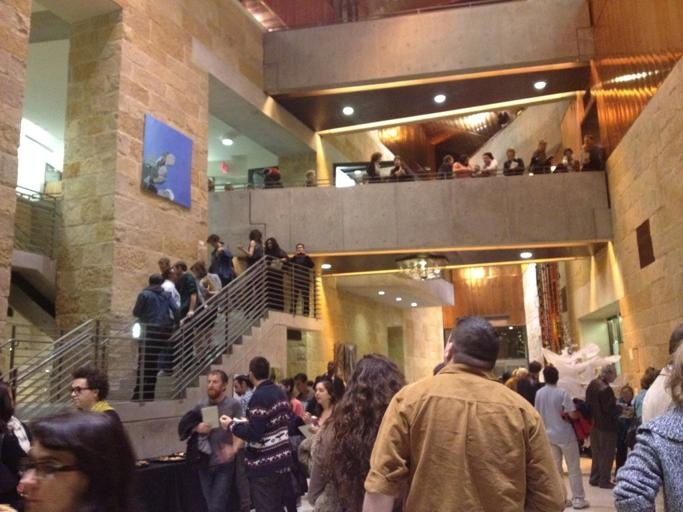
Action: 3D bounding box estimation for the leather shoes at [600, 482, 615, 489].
[{"bbox_3d":[3.860,3.329,8.291,0.200,0.089,0.093,-2,-1,0],"label":"leather shoes"}]

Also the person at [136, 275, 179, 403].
[{"bbox_3d":[-2.755,1.149,8.251,0.622,1.819,0.946,-5,-12,12],"label":"person"}]

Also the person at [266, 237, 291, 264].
[{"bbox_3d":[-1.415,-0.122,12.565,0.533,0.622,0.945,-1,-12,-8],"label":"person"}]

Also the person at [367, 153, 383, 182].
[{"bbox_3d":[0.806,-2.171,14.190,0.382,0.726,0.386,-4,-12,6],"label":"person"}]

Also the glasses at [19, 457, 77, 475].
[{"bbox_3d":[-0.958,0.686,1.867,0.189,0.055,0.034,-6,-13,15],"label":"glasses"}]

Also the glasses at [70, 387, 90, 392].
[{"bbox_3d":[-2.123,1.091,4.657,0.136,0.046,0.043,-5,-12,8],"label":"glasses"}]

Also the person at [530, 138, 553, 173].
[{"bbox_3d":[4.963,-2.334,14.042,0.515,1.030,0.563,-18,16,-39],"label":"person"}]

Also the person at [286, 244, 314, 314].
[{"bbox_3d":[-0.902,0.471,12.977,0.548,1.758,1.299,-2,-12,-3],"label":"person"}]

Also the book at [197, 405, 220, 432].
[{"bbox_3d":[-1.200,1.497,5.246,0.152,0.228,0.481,0,-12,-13],"label":"book"}]

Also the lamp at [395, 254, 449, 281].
[{"bbox_3d":[2.082,0.282,14.547,1.299,0.509,0.962,-3,-12,0],"label":"lamp"}]

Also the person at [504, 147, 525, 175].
[{"bbox_3d":[4.167,-2.263,13.805,0.495,0.836,0.670,-6,-13,18],"label":"person"}]
